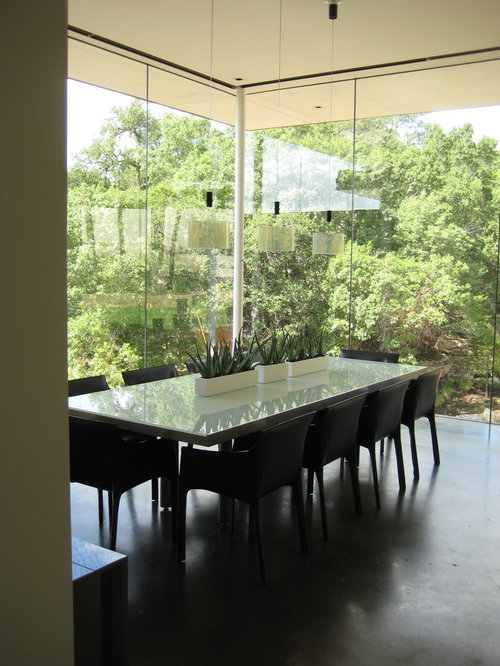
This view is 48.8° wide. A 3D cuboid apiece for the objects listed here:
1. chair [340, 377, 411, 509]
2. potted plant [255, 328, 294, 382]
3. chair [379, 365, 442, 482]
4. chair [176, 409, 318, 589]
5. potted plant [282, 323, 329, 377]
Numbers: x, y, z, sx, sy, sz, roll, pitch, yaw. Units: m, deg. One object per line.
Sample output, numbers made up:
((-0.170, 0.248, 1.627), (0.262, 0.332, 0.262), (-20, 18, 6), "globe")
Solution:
((0.792, 0.686, 3.770), (0.509, 0.791, 0.506), (1, 7, 27), "chair")
((0.188, 0.174, 4.192), (0.150, 0.412, 0.356), (4, 7, 31), "potted plant")
((1.210, 0.657, 4.333), (0.482, 0.781, 0.487), (-6, 7, -36), "chair")
((-0.026, 0.752, 2.770), (0.515, 0.744, 0.536), (7, 8, 40), "chair")
((0.451, 0.141, 4.435), (0.154, 0.417, 0.413), (1, 4, 36), "potted plant")
